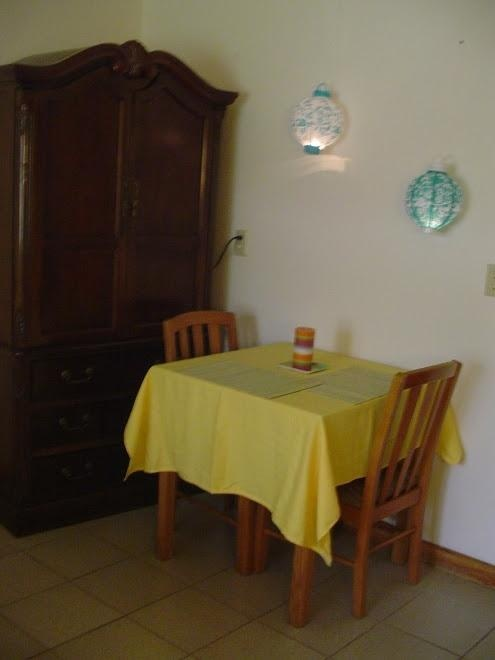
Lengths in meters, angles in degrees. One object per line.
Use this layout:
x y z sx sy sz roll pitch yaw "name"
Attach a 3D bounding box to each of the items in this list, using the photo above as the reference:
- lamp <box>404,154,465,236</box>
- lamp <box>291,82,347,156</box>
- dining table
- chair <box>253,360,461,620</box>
0.630 -0.453 1.837 0.202 0.231 0.126 5 6 34 "lamp"
0.259 -0.826 2.129 0.153 0.270 0.241 -1 6 -38 "lamp"
0.081 0.063 1.611 0.783 0.421 0.773 -11 19 -41 "dining table"
0.340 0.446 1.743 0.416 0.807 0.468 -2 13 -38 "chair"
